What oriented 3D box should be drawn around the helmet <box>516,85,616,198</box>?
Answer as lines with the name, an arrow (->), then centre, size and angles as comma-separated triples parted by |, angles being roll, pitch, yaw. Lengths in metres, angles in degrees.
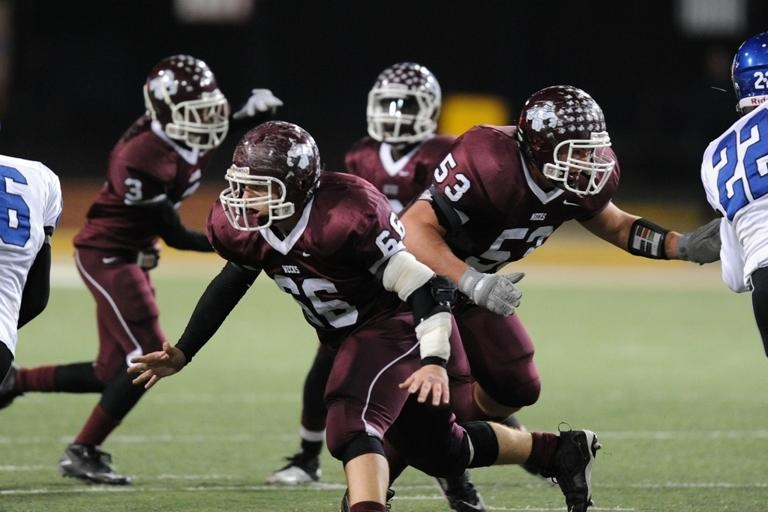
helmet -> 0.891, -0.591, 4.507 | 0.570, 0.454, 0.432 | 21, 24, 33

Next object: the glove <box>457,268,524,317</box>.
glove -> 0.501, 0.146, 4.251 | 0.268, 0.212, 0.118 | 24, 31, 11

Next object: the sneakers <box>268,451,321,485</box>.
sneakers -> -0.527, 1.163, 4.949 | 0.362, 0.148, 0.116 | 0, -2, -9

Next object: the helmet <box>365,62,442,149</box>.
helmet -> 0.149, -1.084, 6.217 | 0.471, 0.452, 0.596 | 15, 28, 27
